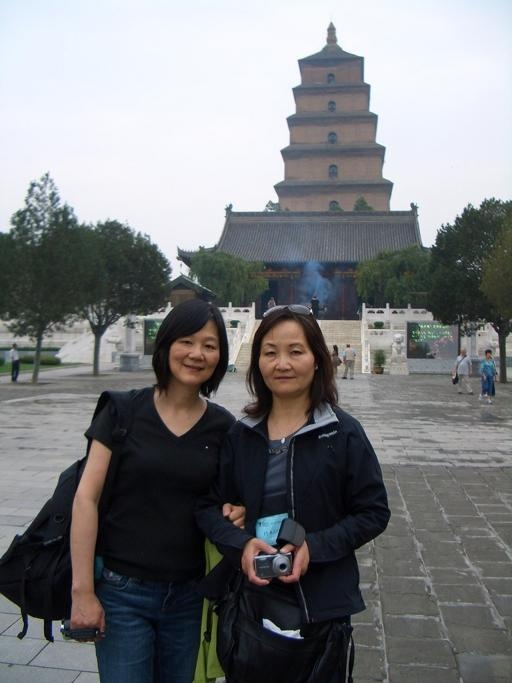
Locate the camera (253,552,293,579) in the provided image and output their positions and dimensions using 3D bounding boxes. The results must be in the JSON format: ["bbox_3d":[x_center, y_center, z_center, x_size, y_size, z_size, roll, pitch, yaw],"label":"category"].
[{"bbox_3d":[0.036,0.497,1.231,0.075,0.053,0.057,0,-5,-14],"label":"camera"}]

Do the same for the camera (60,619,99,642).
[{"bbox_3d":[-0.431,0.700,1.350,0.069,0.028,0.060,5,-33,12],"label":"camera"}]

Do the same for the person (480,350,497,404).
[{"bbox_3d":[5.887,0.850,14.121,0.360,1.305,1.923,-1,-1,22],"label":"person"}]
